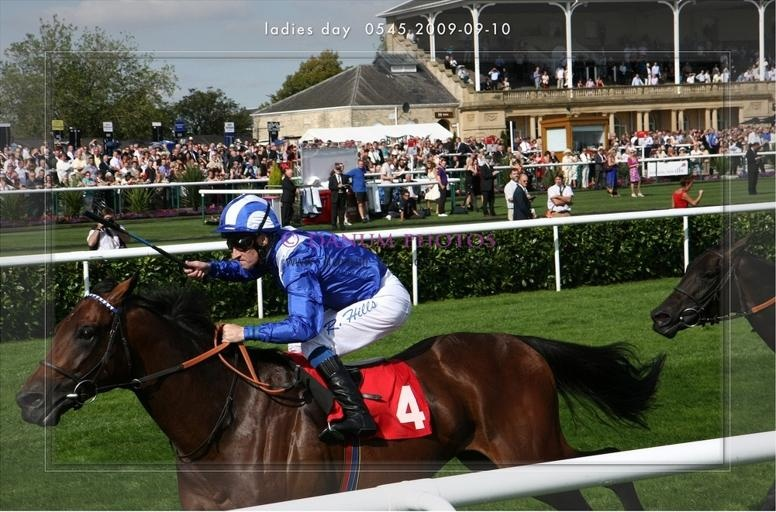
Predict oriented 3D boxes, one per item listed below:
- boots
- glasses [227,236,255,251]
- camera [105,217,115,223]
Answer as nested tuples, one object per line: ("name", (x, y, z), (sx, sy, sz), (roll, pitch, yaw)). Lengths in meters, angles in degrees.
("boots", (-0.301, 1.015, 8.898), (0.393, 0.600, 0.166), (-2, 3, -3))
("glasses", (-1.077, -0.097, 8.957), (0.226, 0.100, 0.092), (0, 4, 31))
("camera", (-2.176, -0.286, 9.653), (0.061, 0.037, 0.084), (-6, 30, -34))
